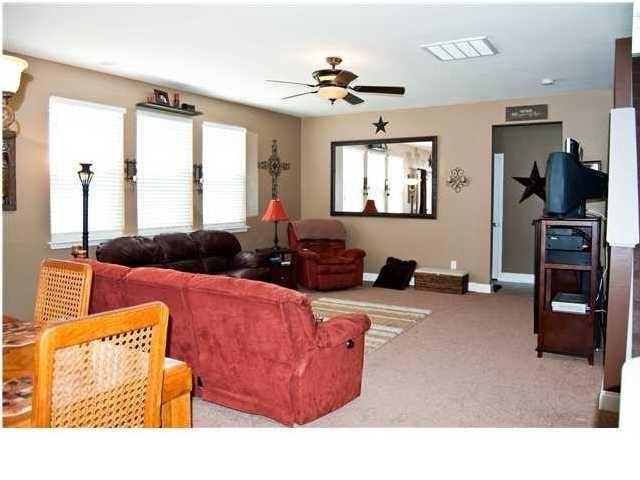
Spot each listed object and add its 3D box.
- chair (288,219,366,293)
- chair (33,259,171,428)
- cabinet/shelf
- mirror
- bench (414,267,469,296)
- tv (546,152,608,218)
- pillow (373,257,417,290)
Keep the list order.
[{"bbox_3d":[0.074,0.210,7.374,1.249,1.006,1.237,-5,8,-44],"label":"chair"},{"bbox_3d":[-0.741,0.392,1.742,0.453,0.743,0.433,4,3,29],"label":"chair"},{"bbox_3d":[2.290,0.411,4.304,0.558,1.279,0.870,4,7,25],"label":"cabinet/shelf"},{"bbox_3d":[1.140,-1.077,7.714,1.494,1.076,0.065,1,2,24],"label":"mirror"},{"bbox_3d":[1.858,0.621,7.038,0.763,0.304,0.375,4,7,27],"label":"bench"},{"bbox_3d":[2.292,-0.476,4.181,0.591,0.556,0.458,1,0,-18],"label":"tv"},{"bbox_3d":[1.212,0.526,7.395,0.560,0.435,0.640,4,7,28],"label":"pillow"}]
